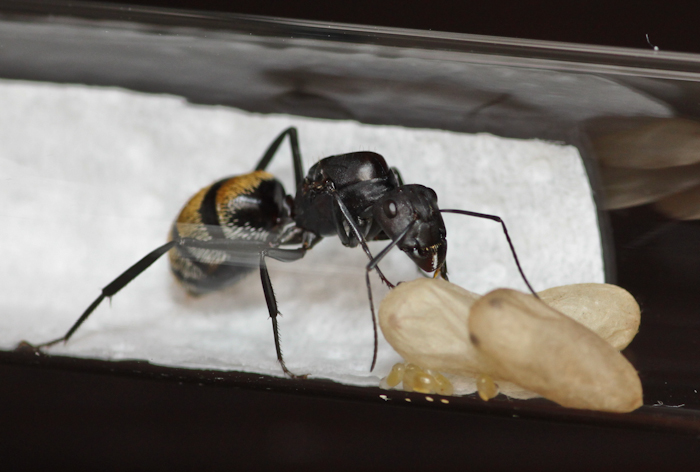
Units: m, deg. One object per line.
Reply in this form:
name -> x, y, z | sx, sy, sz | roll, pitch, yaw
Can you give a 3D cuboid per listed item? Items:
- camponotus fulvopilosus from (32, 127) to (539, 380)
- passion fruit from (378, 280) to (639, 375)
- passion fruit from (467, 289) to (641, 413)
camponotus fulvopilosus -> -0.077, 0.111, 2.289 | 0.783, 0.409, 0.719 | 37, 85, 3
passion fruit -> 0.383, 0.179, 2.096 | 0.557, 0.243, 0.185 | 0, 106, 10
passion fruit -> 0.486, 0.276, 2.067 | 0.467, 0.151, 0.208 | 24, 84, 2
